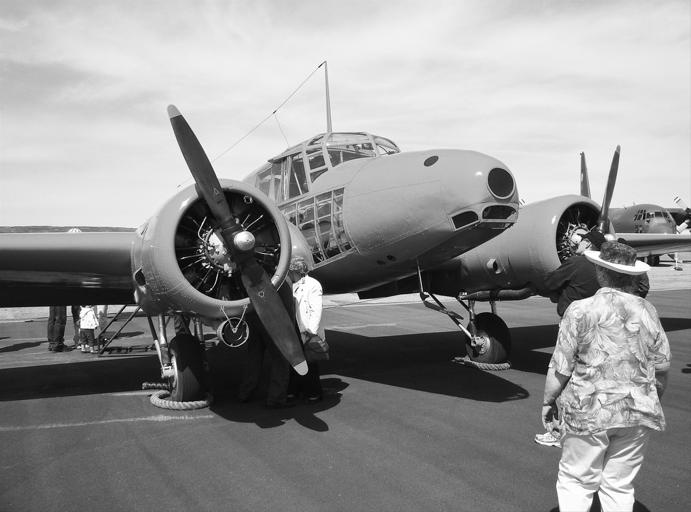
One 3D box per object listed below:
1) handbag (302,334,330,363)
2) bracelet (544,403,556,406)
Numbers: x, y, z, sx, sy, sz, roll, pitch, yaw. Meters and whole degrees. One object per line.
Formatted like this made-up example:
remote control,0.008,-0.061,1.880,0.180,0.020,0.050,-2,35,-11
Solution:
handbag,-0.407,1.214,6.413,0.385,0.399,0.285,-3,-2,-4
bracelet,1.535,1.110,3.623,0.056,0.015,0.057,-2,-1,-5
